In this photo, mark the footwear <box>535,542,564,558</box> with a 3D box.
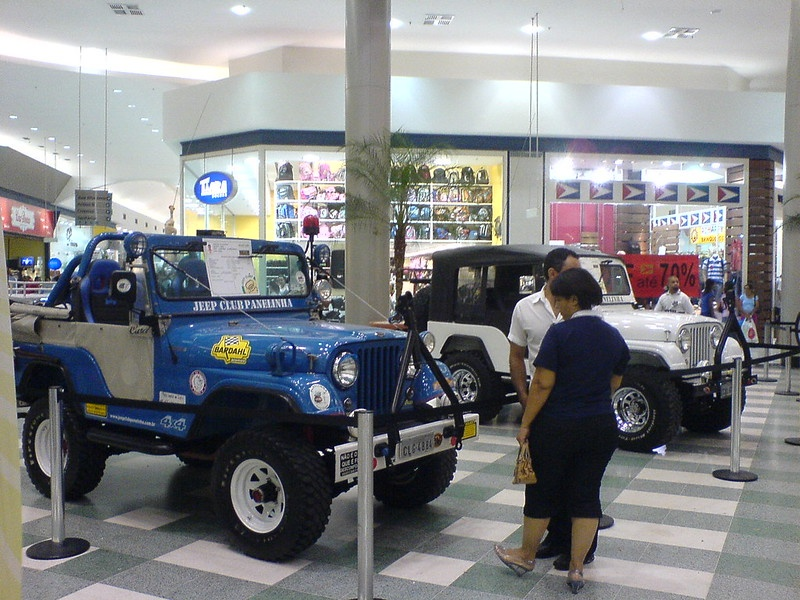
[{"bbox_3d":[1.039,1.743,5.009,0.228,0.106,0.080,-4,4,-17],"label":"footwear"}]

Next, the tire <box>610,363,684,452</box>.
[{"bbox_3d":[2.513,1.130,7.555,0.303,0.987,0.911,7,-20,-43],"label":"tire"}]

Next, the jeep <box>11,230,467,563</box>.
[{"bbox_3d":[-1.357,0.625,5.810,3.552,2.166,2.096,0,0,37],"label":"jeep"}]

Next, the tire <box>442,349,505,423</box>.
[{"bbox_3d":[0.764,0.849,7.273,0.264,0.881,0.810,-12,11,-39],"label":"tire"}]

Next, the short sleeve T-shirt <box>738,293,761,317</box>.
[{"bbox_3d":[7.167,0.092,14.582,0.417,0.443,0.240,-3,-11,32],"label":"short sleeve T-shirt"}]

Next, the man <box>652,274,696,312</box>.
[{"bbox_3d":[4.314,-0.133,11.271,0.488,0.717,0.246,-7,-19,38],"label":"man"}]

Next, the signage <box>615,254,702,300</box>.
[{"bbox_3d":[4.352,-0.419,11.848,1.514,0.751,0.023,-1,6,-13],"label":"signage"}]

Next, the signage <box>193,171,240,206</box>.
[{"bbox_3d":[-3.756,-2.329,14.681,0.704,0.562,0.097,2,-5,29],"label":"signage"}]

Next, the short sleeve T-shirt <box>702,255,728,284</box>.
[{"bbox_3d":[6.894,-0.719,15.611,0.636,0.873,0.291,-2,4,-12],"label":"short sleeve T-shirt"}]

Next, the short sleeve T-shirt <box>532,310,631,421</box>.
[{"bbox_3d":[1.199,0.426,4.672,0.648,0.708,0.370,1,-5,-5],"label":"short sleeve T-shirt"}]

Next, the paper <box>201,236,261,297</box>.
[{"bbox_3d":[-1.393,-0.295,5.869,0.453,0.495,0.031,4,20,18],"label":"paper"}]

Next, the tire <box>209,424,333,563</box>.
[{"bbox_3d":[-0.896,1.344,4.918,0.899,0.909,0.243,0,3,29],"label":"tire"}]

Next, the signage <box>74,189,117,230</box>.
[{"bbox_3d":[-8.374,-2.544,19.360,0.855,1.010,0.961,-4,4,-33],"label":"signage"}]

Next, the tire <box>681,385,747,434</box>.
[{"bbox_3d":[3.563,1.282,8.059,0.631,0.563,0.786,-1,3,16],"label":"tire"}]

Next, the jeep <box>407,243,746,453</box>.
[{"bbox_3d":[1.672,0.457,8.641,3.237,2.016,1.620,4,1,20],"label":"jeep"}]

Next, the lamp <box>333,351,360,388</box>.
[{"bbox_3d":[-0.386,0.482,4.958,0.143,0.285,0.231,-1,-5,44],"label":"lamp"}]

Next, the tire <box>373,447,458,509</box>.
[{"bbox_3d":[0.144,1.452,5.699,0.532,0.194,0.550,0,2,34],"label":"tire"}]

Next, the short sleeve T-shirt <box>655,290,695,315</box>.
[{"bbox_3d":[4.077,0.021,10.613,0.332,0.289,0.119,-2,-22,44],"label":"short sleeve T-shirt"}]
